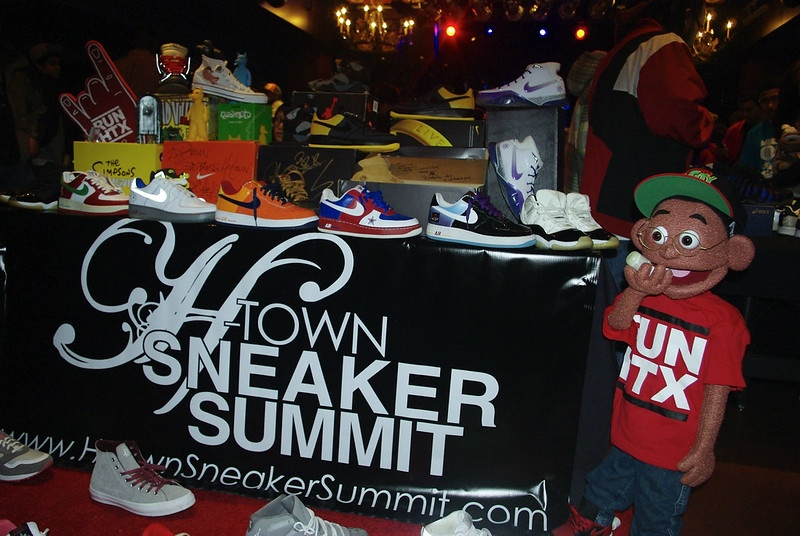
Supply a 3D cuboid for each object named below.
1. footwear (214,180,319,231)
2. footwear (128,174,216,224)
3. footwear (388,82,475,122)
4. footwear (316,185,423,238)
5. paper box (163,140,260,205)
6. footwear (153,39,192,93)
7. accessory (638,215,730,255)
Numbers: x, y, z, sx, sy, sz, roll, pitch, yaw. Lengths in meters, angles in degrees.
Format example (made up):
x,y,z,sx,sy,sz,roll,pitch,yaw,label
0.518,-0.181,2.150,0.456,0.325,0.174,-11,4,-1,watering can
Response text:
x,y,z,sx,sy,sz,roll,pitch,yaw,label
-0.684,-0.310,3.001,0.539,0.244,0.210,3,6,0,footwear
-1.181,-0.351,3.050,0.508,0.255,0.195,4,10,-1,footwear
0.228,-1.010,3.796,0.591,0.242,0.215,3,1,2,footwear
-0.129,-0.284,3.095,0.555,0.261,0.218,4,4,3,footwear
-1.026,-0.513,3.272,0.362,0.316,0.188,5,3,2,paper box
-1.381,-1.194,3.670,0.166,0.297,0.414,-2,16,-21,footwear
1.246,-0.167,2.670,0.402,0.219,0.150,7,13,26,accessory
